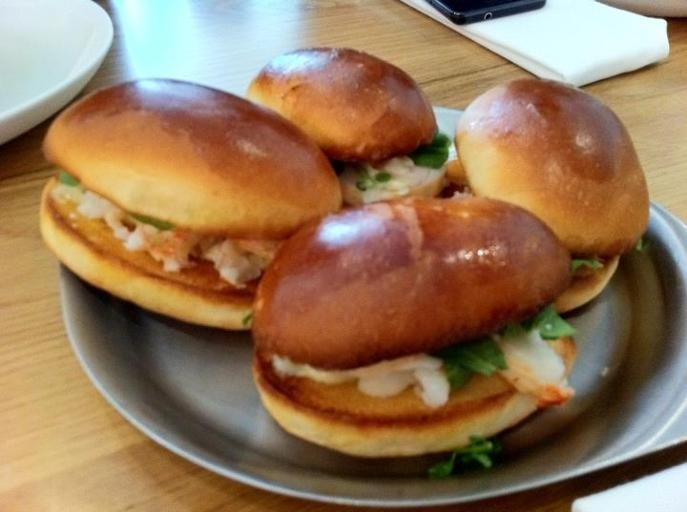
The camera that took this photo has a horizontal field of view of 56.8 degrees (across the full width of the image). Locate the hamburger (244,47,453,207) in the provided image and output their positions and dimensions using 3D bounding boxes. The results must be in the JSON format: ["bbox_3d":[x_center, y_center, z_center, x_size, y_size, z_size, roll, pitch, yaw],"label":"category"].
[{"bbox_3d":[0.008,-0.173,1.059,0.273,0.159,0.268,32,42,-1],"label":"hamburger"}]

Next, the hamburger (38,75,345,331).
[{"bbox_3d":[-0.205,-0.031,0.925,0.376,0.211,0.355,31,36,20],"label":"hamburger"}]
